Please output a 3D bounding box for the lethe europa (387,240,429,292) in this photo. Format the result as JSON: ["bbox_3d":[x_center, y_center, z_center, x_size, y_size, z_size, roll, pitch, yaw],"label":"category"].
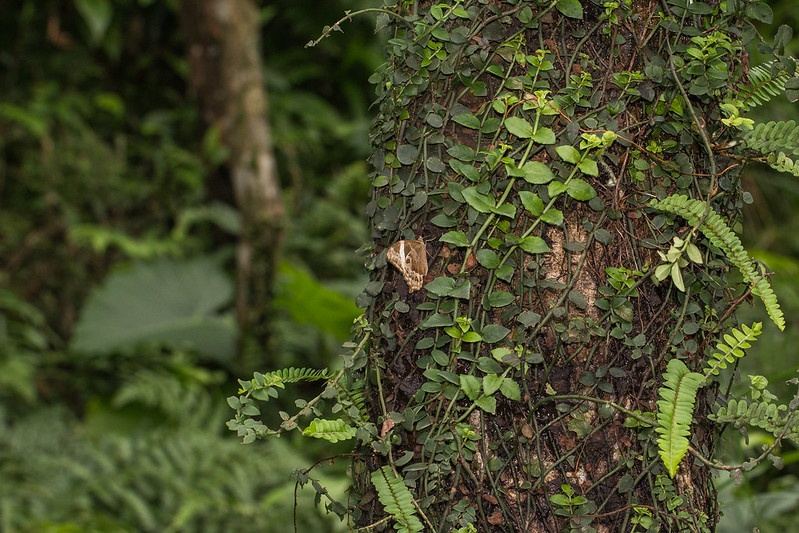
[{"bbox_3d":[0.029,0.002,3.539,0.141,0.155,0.109,-3,34,-4],"label":"lethe europa"}]
